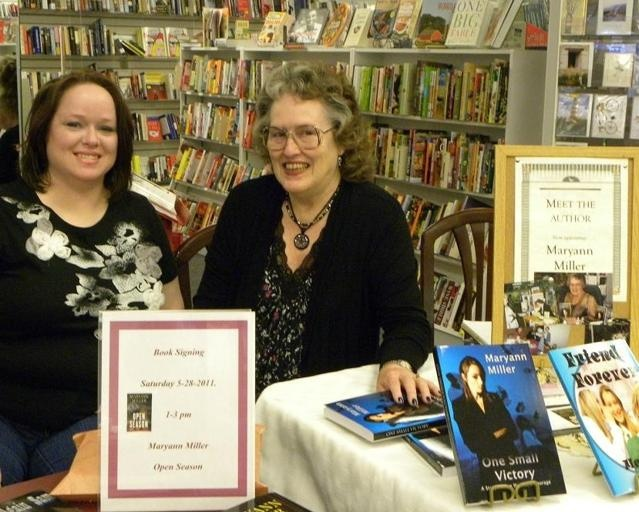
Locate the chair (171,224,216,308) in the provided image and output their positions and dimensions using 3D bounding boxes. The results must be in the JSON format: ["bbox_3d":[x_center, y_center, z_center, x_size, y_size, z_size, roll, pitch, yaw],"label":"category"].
[{"bbox_3d":[-0.521,0.041,2.306,0.270,0.377,0.276,-2,3,-32],"label":"chair"}]

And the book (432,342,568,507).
[{"bbox_3d":[0.320,0.299,0.960,0.190,0.291,0.069,0,-28,-14],"label":"book"}]

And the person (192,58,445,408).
[{"bbox_3d":[0.057,-0.103,1.753,0.573,1.109,0.994,-8,12,-42],"label":"person"}]
